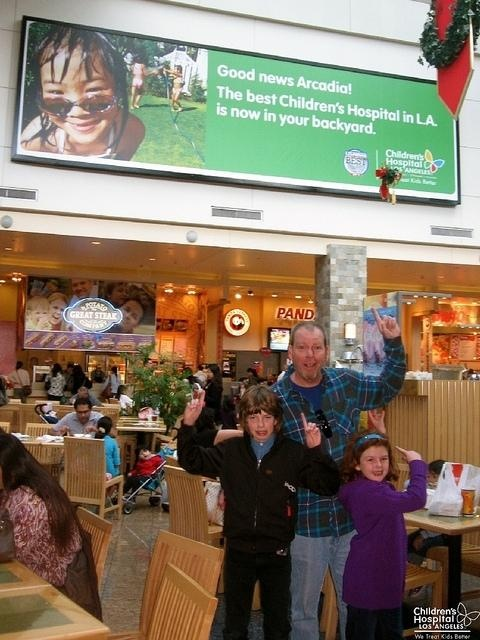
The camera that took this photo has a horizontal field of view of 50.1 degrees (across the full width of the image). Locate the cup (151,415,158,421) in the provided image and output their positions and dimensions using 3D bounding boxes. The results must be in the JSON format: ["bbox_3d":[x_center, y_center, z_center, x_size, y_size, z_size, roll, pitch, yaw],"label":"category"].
[{"bbox_3d":[-1.455,1.694,8.921,0.098,0.076,0.077,1,-8,-12],"label":"cup"}]

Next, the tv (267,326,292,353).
[{"bbox_3d":[1.269,0.610,17.026,1.077,1.003,0.136,13,-16,-25],"label":"tv"}]

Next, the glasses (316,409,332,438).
[{"bbox_3d":[0.372,0.454,2.260,0.065,0.107,0.040,-18,8,39],"label":"glasses"}]
